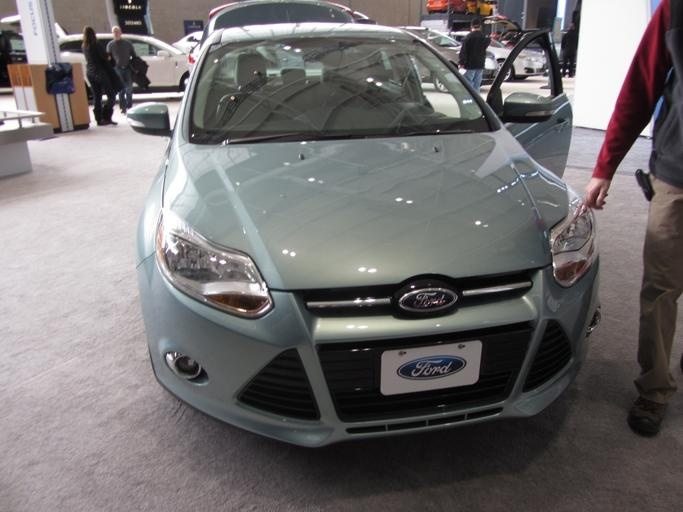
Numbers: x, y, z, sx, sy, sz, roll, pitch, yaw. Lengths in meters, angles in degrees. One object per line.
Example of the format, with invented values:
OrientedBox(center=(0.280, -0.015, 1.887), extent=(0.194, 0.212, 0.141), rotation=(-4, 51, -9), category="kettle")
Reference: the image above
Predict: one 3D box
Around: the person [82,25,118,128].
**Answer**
OrientedBox(center=(-4.167, -3.109, 8.056), extent=(0.502, 1.553, 0.625), rotation=(-14, 28, -24), category="person")

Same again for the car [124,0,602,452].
OrientedBox(center=(0.013, -0.108, 1.958), extent=(1.435, 0.751, 1.848), rotation=(-5, 41, -3), category="car")

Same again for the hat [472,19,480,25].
OrientedBox(center=(2.396, -4.188, 8.332), extent=(0.103, 0.102, 0.095), rotation=(-13, 2, -3), category="hat")
